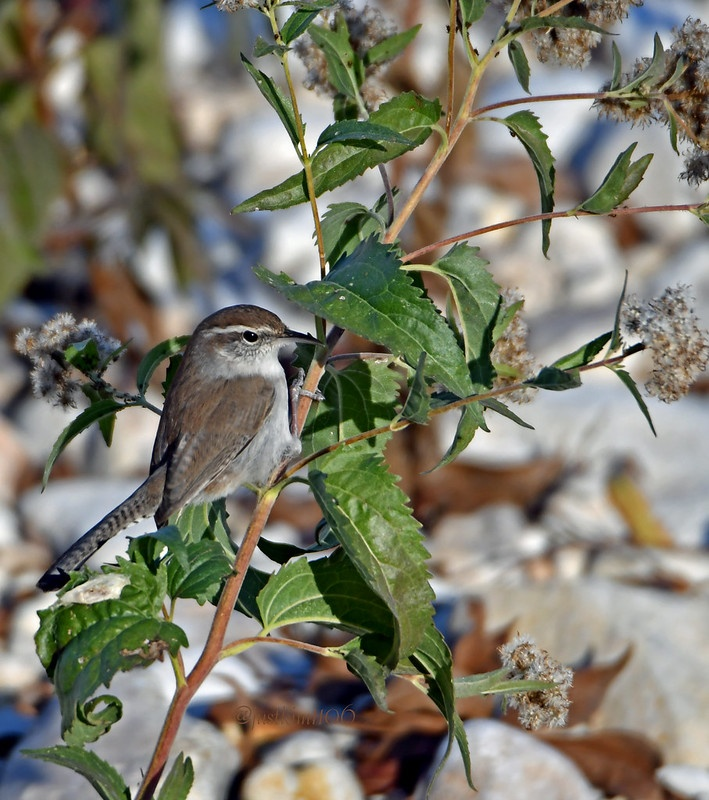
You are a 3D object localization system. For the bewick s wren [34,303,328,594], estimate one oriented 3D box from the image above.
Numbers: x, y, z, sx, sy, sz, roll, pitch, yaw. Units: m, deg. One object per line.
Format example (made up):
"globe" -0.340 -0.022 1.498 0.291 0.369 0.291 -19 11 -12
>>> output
"bewick s wren" -0.448 0.142 4.068 0.424 0.418 0.957 25 81 4

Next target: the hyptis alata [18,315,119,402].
"hyptis alata" -0.873 -0.127 3.926 0.312 0.177 0.254 -12 92 -22
